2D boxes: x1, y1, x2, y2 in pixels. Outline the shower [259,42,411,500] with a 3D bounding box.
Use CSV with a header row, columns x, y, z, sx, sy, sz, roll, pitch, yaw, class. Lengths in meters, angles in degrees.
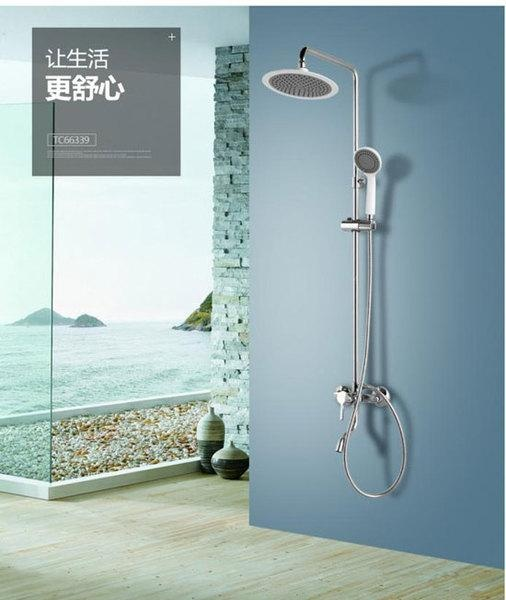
x,y,z,sx,sy,sz,roll,pitch,yaw,class
0.359,-0.152,2.340,0.421,2.094,0.718,-2,-5,25,shower
